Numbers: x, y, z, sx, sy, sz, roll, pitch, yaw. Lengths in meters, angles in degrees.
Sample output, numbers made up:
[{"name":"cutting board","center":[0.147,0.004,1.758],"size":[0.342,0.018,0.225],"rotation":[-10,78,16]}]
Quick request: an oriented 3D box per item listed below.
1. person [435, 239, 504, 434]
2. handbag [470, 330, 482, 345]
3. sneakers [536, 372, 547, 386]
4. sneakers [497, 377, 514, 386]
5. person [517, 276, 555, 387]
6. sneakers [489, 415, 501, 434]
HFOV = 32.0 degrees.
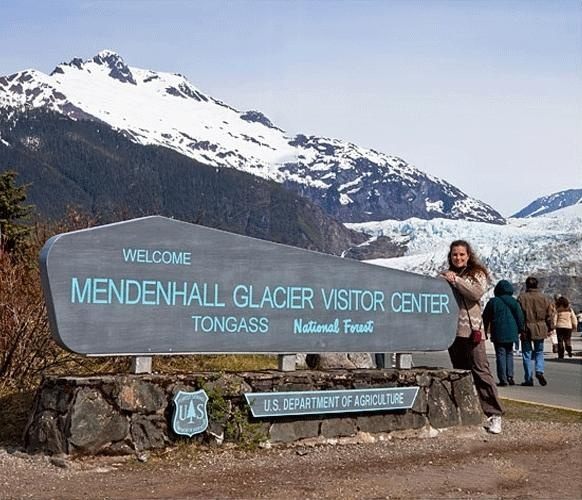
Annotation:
[{"name":"person","center":[2.379,1.088,13.093],"size":[0.617,2.398,1.167],"rotation":[-1,8,-23]},{"name":"handbag","center":[2.386,1.127,12.946],"size":[0.156,0.185,0.188],"rotation":[2,8,-2]},{"name":"sneakers","center":[4.238,2.212,17.116],"size":[0.086,0.294,0.110],"rotation":[-15,20,6]},{"name":"sneakers","center":[3.608,2.222,16.898],"size":[0.106,0.145,0.306],"rotation":[0,3,38]},{"name":"person","center":[4.073,1.379,17.016],"size":[0.644,1.852,0.671],"rotation":[0,-2,12]},{"name":"sneakers","center":[2.601,2.227,12.844],"size":[0.173,0.202,0.276],"rotation":[4,8,12]}]
